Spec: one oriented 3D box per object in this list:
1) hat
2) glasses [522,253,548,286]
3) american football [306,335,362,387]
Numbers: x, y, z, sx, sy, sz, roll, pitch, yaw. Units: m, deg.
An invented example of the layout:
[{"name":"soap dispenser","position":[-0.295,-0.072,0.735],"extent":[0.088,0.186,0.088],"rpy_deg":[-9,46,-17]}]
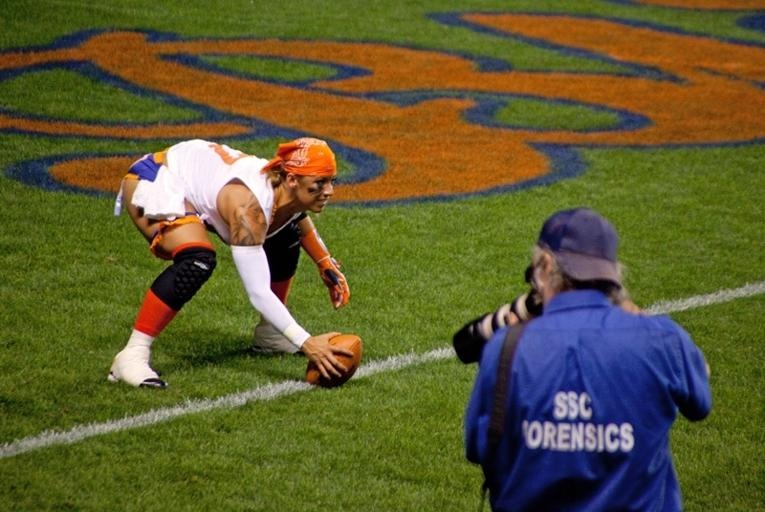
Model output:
[{"name":"hat","position":[1.433,-0.082,9.920],"extent":[0.448,0.317,0.596],"rpy_deg":[0,22,-37]},{"name":"glasses","position":[1.117,0.097,10.016],"extent":[0.087,0.226,0.167],"rpy_deg":[21,-16,-20]},{"name":"american football","position":[-0.394,0.887,11.590],"extent":[0.473,0.287,0.344],"rpy_deg":[-45,23,-11]}]
